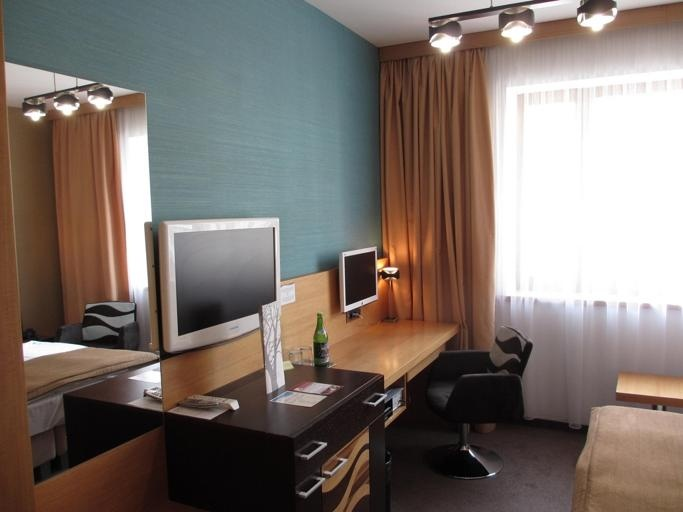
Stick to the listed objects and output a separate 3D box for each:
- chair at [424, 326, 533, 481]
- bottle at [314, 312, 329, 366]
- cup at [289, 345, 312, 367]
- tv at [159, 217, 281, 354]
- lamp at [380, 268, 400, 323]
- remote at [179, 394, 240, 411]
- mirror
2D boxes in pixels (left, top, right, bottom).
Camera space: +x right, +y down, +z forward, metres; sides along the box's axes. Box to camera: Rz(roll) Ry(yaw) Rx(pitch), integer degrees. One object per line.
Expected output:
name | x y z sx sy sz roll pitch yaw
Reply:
chair | 0.882 0.939 3.391 0.641 0.890 0.590 -1 6 6
bottle | -0.121 0.453 2.906 0.080 0.300 0.159 -2 6 -4
cup | -0.228 0.544 2.828 0.130 0.134 0.075 -1 1 -10
tv | -0.551 0.124 2.479 0.077 0.561 0.760 4 7 30
lamp | 0.399 0.294 4.159 0.145 0.424 0.198 0 6 16
remote | -0.570 0.635 2.271 0.174 0.037 0.099 4 1 12
mirror | -0.968 0.021 2.008 0.127 1.429 0.603 3 8 35
